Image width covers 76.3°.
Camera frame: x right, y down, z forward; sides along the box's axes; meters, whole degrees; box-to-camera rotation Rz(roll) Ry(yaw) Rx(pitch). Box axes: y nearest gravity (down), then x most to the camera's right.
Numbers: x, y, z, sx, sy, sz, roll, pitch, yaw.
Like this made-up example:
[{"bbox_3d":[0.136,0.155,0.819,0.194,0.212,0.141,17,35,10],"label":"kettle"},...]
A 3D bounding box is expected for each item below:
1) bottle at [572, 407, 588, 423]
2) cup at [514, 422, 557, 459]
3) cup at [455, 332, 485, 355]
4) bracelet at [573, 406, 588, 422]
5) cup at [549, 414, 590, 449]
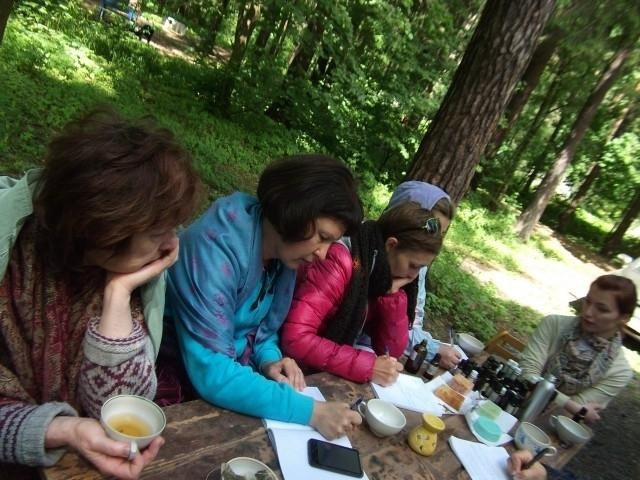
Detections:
[{"bbox_3d":[1.898,1.268,2.950,0.029,0.101,0.103,32,-6,13],"label":"bottle"},{"bbox_3d":[1.251,1.163,2.436,0.184,0.110,0.236,41,2,-8],"label":"cup"},{"bbox_3d":[1.205,0.791,3.315,0.180,0.110,0.184,31,3,-2],"label":"cup"},{"bbox_3d":[1.914,1.276,2.985,0.032,0.108,0.109,37,-1,14],"label":"bracelet"},{"bbox_3d":[1.659,1.255,2.724,0.168,0.112,0.218,10,6,-5],"label":"cup"}]
